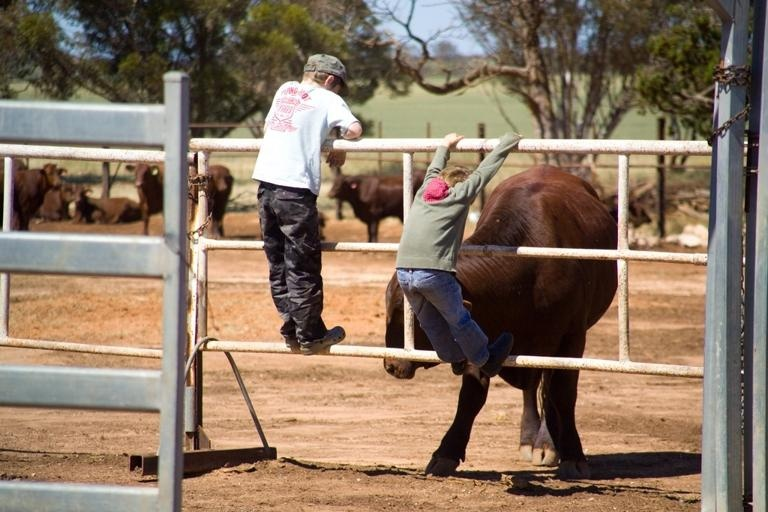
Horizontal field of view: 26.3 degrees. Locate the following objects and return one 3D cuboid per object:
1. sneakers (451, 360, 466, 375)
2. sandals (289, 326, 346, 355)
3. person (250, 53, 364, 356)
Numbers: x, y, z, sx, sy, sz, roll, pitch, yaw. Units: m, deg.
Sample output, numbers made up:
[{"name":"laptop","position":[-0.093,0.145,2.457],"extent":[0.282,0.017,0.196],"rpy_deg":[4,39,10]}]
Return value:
[{"name":"sneakers","position":[0.789,1.209,17.589],"extent":[0.155,0.151,0.120],"rpy_deg":[11,-11,-29]},{"name":"sandals","position":[-0.743,0.914,17.572],"extent":[0.355,0.132,0.158],"rpy_deg":[-20,-33,-8]},{"name":"person","position":[-0.899,-0.551,17.634],"extent":[1.034,3.160,0.562],"rpy_deg":[0,5,-6]}]
